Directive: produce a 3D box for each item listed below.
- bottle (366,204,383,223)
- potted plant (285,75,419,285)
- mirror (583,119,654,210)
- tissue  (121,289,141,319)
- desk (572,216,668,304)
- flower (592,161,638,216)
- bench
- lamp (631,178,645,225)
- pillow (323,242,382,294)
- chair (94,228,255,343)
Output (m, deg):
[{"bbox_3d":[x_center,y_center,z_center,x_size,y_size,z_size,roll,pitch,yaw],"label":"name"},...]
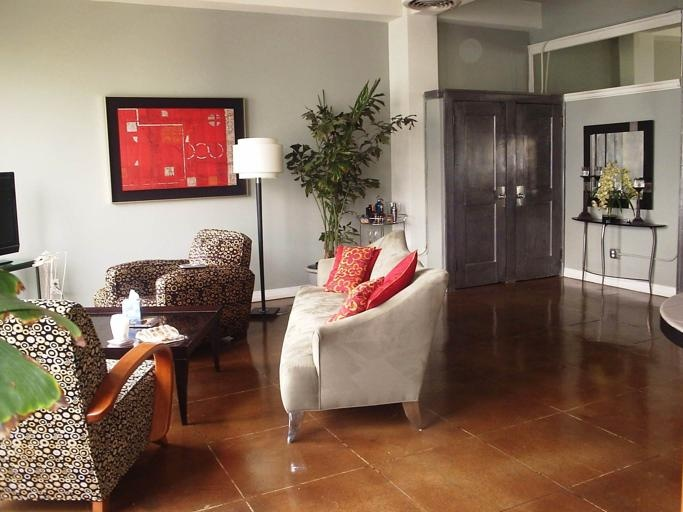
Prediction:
[{"bbox_3d":[0.427,-0.536,6.595,0.119,0.293,0.214,7,-11,-23],"label":"bottle"},{"bbox_3d":[0.063,-0.909,6.110,1.331,2.278,1.034,4,-1,-3],"label":"potted plant"},{"bbox_3d":[3.392,-1.112,6.222,0.047,1.364,1.161,-1,2,-29],"label":"mirror"},{"bbox_3d":[-1.580,0.366,3.865,0.125,0.223,0.081,2,18,-13],"label":"tissue "},{"bbox_3d":[3.258,-0.016,6.116,1.152,0.843,0.408,6,-9,-22],"label":"desk"},{"bbox_3d":[3.345,-0.807,6.320,0.492,0.686,0.557,-3,-2,9],"label":"flower"},{"bbox_3d":[0.066,0.458,4.176,1.036,0.973,2.315,-5,9,-1],"label":"bench"},{"bbox_3d":[3.486,-0.657,6.030,0.127,0.513,0.324,5,13,29],"label":"lamp"},{"bbox_3d":[0.089,0.101,4.477,0.136,0.419,0.435,29,-11,-38],"label":"pillow"},{"bbox_3d":[-1.599,0.298,4.943,1.273,1.018,1.258,-6,8,-42],"label":"chair"}]
